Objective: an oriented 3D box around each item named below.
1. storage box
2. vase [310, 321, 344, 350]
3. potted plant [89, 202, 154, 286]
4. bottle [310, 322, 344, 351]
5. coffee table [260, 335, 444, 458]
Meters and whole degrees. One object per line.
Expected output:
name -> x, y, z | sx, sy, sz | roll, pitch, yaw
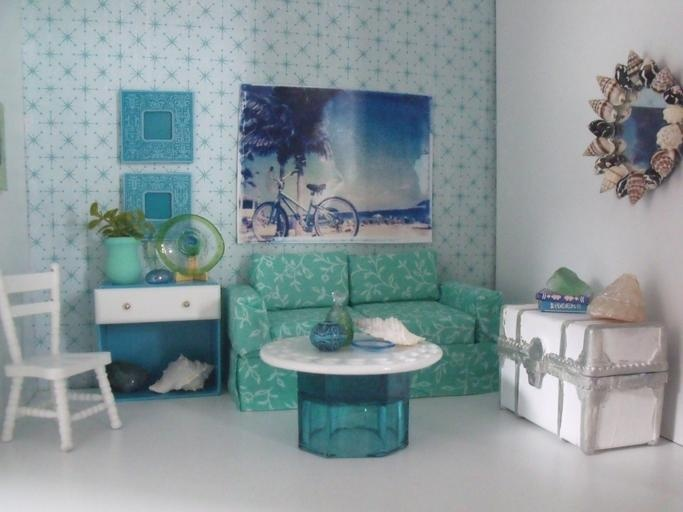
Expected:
storage box -> 1.542, 0.723, 3.842 | 0.675, 0.844, 1.136 | 2, -1, -13
vase -> -0.090, 0.445, 3.407 | 0.158, 0.121, 0.160 | 0, 0, -29
potted plant -> -1.670, -0.101, 4.472 | 0.429, 0.634, 0.413 | -2, 13, -8
bottle -> -0.087, 0.457, 3.413 | 0.161, 0.122, 0.161 | 0, 1, 0
coffee table -> 0.085, 0.895, 3.707 | 1.040, 0.626, 1.074 | -3, -4, 30
